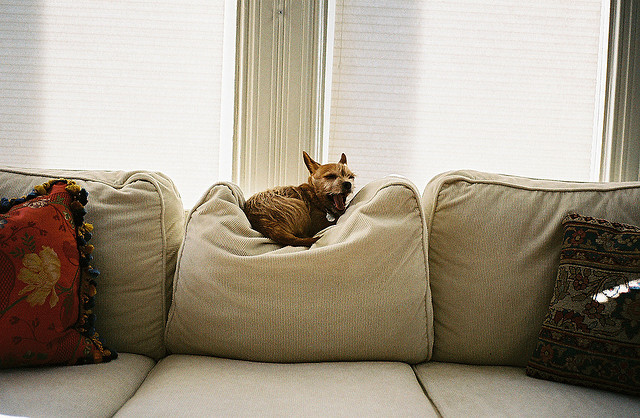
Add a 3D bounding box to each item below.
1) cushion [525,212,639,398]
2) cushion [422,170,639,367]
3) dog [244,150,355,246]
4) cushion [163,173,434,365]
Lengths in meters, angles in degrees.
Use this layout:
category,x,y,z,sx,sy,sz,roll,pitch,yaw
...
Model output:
category,x,y,z,sx,sy,sz,roll,pitch,yaw
cushion,1.201,0.410,2.467,0.630,0.622,0.174,10,2,13
cushion,0.921,0.296,2.352,0.708,0.650,0.264,3,-12,7
dog,-0.101,-0.044,2.664,0.516,0.389,0.426,-5,7,-1
cushion,-0.025,0.105,2.683,1.065,0.753,0.803,1,-2,6
